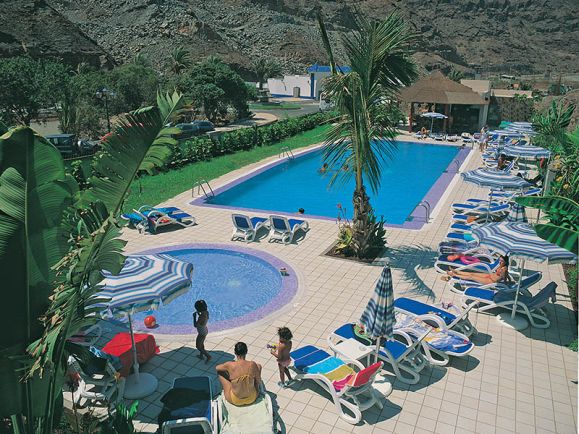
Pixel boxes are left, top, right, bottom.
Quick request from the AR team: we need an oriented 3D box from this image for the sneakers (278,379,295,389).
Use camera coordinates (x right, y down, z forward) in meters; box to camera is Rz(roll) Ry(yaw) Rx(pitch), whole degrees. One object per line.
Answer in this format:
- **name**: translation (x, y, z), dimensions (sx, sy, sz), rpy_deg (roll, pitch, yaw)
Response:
- **sneakers**: translation (-0.071, 3.374, 8.996), dimensions (0.353, 0.137, 0.121), rpy_deg (1, 54, -6)

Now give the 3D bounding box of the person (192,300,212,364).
- **person**: translation (-1.967, 2.366, 9.884), dimensions (0.345, 1.353, 1.016), rpy_deg (-7, 18, -11)

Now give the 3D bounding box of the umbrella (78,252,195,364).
- **umbrella**: translation (-2.889, 1.308, 8.568), dimensions (1.737, 0.994, 1.718), rpy_deg (9, 36, 25)

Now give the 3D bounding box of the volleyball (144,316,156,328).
- **volleyball**: translation (-3.424, 2.575, 10.943), dimensions (0.289, 0.246, 0.255), rpy_deg (-3, -8, -16)

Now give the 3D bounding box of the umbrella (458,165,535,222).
- **umbrella**: translation (7.137, -0.568, 15.336), dimensions (2.215, 1.553, 1.992), rpy_deg (4, 26, 2)

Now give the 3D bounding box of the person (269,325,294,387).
- **person**: translation (-0.196, 2.716, 9.130), dimensions (0.466, 1.244, 0.794), rpy_deg (-4, 18, -4)

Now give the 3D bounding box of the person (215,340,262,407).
- **person**: translation (-0.874, 2.738, 8.106), dimensions (1.027, 1.123, 1.007), rpy_deg (1, 22, -8)

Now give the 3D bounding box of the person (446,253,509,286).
- **person**: translation (5.237, 1.424, 11.936), dimensions (2.091, 0.736, 0.680), rpy_deg (2, 21, 25)

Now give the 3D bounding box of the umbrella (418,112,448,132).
- **umbrella**: translation (11.664, -7.546, 36.734), dimensions (2.284, 1.792, 2.251), rpy_deg (12, 27, 30)
